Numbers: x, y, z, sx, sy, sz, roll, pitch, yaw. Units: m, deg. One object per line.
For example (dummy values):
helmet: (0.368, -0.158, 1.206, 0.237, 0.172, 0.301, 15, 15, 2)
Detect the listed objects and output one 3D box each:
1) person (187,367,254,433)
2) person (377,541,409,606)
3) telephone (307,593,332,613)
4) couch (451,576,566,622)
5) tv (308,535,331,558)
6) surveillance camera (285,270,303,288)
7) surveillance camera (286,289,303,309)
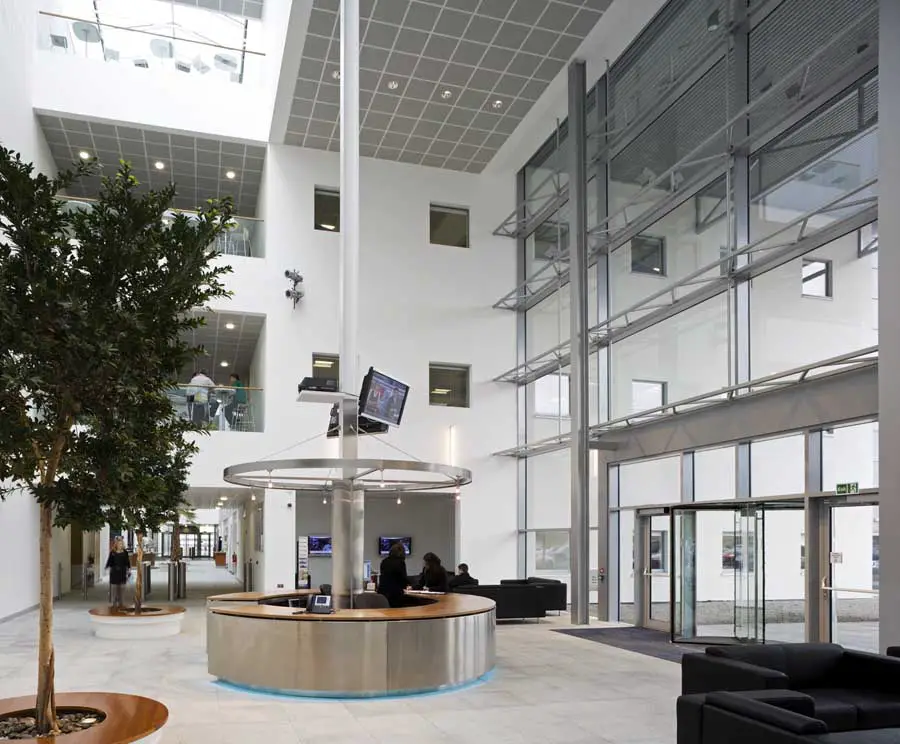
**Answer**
person: (-5.361, 0.626, 19.852, 1.356, 0.938, 1.380, -9, -14, 26)
person: (-0.850, 2.921, 12.549, 0.384, 0.905, 0.810, 1, -12, -5)
telephone: (-1.635, 2.872, 10.794, 0.288, 0.211, 0.171, -1, -30, 4)
couch: (1.261, 4.576, 17.259, 2.256, 0.810, 0.916, 7, -13, -28)
tv: (-3.401, 4.455, 22.029, 0.529, 0.464, 0.071, 2, -19, -16)
surveillance camera: (-3.774, -2.295, 20.580, 0.453, 0.457, 0.397, 3, -12, -13)
surveillance camera: (-3.745, -1.789, 20.599, 0.363, 0.469, 0.461, -11, -12, 42)
